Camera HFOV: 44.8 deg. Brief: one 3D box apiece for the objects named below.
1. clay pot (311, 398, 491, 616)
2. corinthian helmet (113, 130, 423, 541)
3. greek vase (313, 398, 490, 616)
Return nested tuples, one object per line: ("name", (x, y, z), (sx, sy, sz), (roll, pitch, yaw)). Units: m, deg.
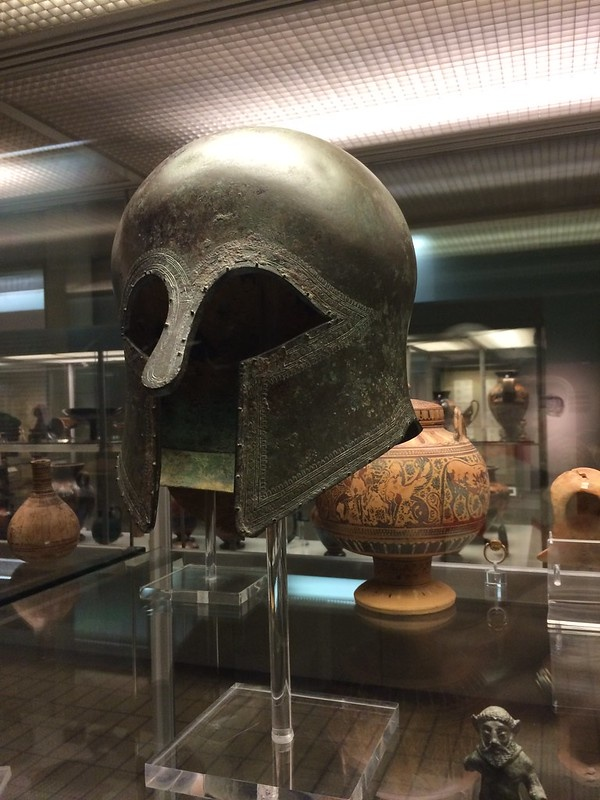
("clay pot", (0.203, 0.207, 1.635), (0.440, 0.444, 0.417), (0, 0, 0))
("corinthian helmet", (-0.042, -0.104, 1.012), (0.444, 0.491, 0.408), (1, 4, 14))
("greek vase", (0.214, 0.209, 1.640), (0.442, 0.445, 0.415), (0, 0, 28))
